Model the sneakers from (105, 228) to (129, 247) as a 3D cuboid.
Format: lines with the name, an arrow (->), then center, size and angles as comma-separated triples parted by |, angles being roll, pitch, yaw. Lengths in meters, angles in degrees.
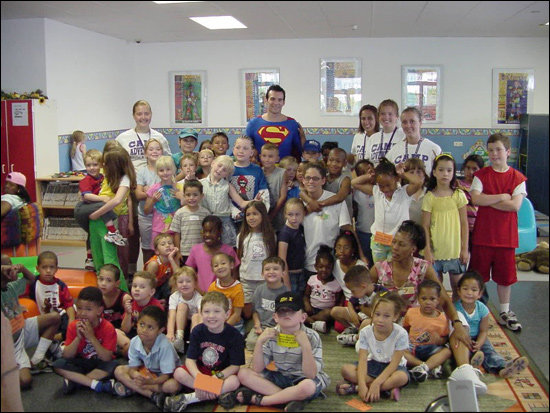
sneakers -> -1.662, 0.326, 4.985 | 0.250, 0.147, 0.115 | 20, 20, -6

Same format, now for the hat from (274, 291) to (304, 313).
hat -> 0.104, 0.728, 3.603 | 0.213, 0.149, 0.128 | -1, 9, -1

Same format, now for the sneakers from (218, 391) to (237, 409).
sneakers -> -0.348, 1.438, 3.580 | 0.145, 0.139, 0.085 | 6, -9, -4

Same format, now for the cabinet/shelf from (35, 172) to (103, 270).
cabinet/shelf -> -3.269, 0.303, 7.653 | 0.836, 1.433, 0.551 | -1, 8, 2

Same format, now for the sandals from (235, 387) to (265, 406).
sandals -> -0.196, 1.417, 3.585 | 0.178, 0.111, 0.071 | 8, 4, 6
